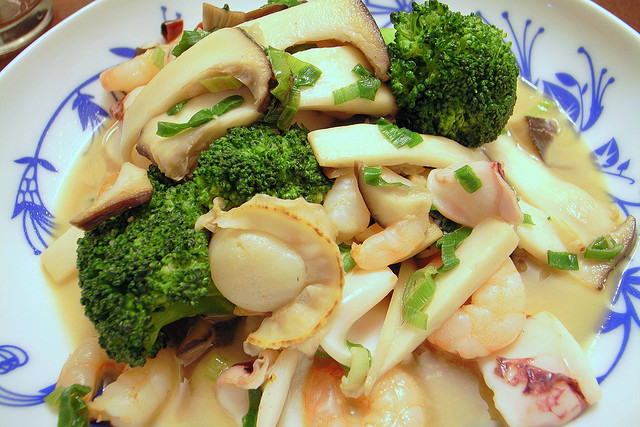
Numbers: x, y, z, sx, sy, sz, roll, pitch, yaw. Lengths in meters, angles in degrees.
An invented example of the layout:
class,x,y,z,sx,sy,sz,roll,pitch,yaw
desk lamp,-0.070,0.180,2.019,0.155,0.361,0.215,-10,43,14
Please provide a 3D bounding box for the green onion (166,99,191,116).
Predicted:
class,x,y,z,sx,sy,sz,roll,pitch,yaw
green onion,-0.899,-0.664,3.191,0.054,0.027,0.165,42,93,0

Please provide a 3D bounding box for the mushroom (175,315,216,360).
class,x,y,z,sx,sy,sz,roll,pitch,yaw
mushroom,-0.840,0.898,3.545,0.135,0.367,0.257,-18,78,-3

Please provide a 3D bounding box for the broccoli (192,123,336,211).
class,x,y,z,sx,sy,sz,roll,pitch,yaw
broccoli,-0.344,-0.300,3.161,0.843,0.372,0.438,-4,50,0

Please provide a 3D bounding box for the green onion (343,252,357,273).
class,x,y,z,sx,sy,sz,roll,pitch,yaw
green onion,0.193,0.317,3.179,0.092,0.023,0.105,17,80,-25

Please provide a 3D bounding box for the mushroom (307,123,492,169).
class,x,y,z,sx,sy,sz,roll,pitch,yaw
mushroom,0.364,-0.474,3.117,0.951,0.147,0.312,-1,72,-12

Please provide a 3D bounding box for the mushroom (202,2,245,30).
class,x,y,z,sx,sy,sz,roll,pitch,yaw
mushroom,-0.675,-1.367,3.483,0.211,0.171,0.206,-15,38,-32

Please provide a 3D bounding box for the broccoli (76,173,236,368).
class,x,y,z,sx,sy,sz,roll,pitch,yaw
broccoli,-1.029,0.354,3.115,0.907,0.658,0.658,-28,54,-18
